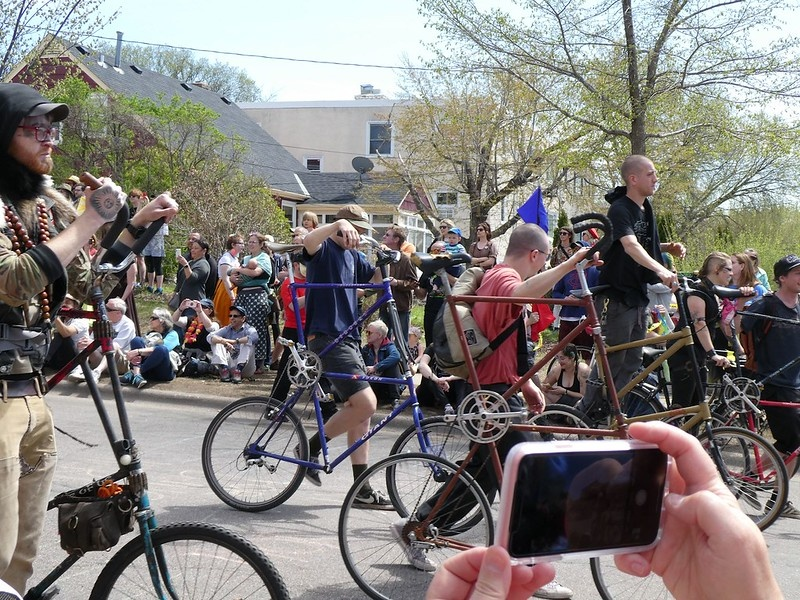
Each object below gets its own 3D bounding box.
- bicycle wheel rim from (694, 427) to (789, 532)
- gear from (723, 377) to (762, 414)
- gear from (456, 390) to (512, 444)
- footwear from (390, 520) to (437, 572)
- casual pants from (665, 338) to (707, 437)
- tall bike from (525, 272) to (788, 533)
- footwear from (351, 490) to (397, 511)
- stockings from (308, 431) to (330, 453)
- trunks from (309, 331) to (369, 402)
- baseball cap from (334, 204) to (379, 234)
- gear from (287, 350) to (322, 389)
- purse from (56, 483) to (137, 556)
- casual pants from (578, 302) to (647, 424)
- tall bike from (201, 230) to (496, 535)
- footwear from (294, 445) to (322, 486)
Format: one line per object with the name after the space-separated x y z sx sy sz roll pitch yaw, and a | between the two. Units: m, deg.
2.555 1.325 5.683 0.582 0.820 0.265 5 1 -7 | bicycle wheel rim
2.851 0.786 6.374 0.319 0.251 0.096 49 12 18 | gear
0.454 0.629 4.168 0.290 0.280 0.051 -1 -10 14 | gear
0.090 1.382 4.400 0.130 0.162 0.382 2 30 -32 | footwear
2.481 0.724 6.609 0.274 0.739 0.355 -14 -6 16 | casual pants
2.051 0.852 6.302 1.064 1.579 2.401 -16 18 -33 | tall bike
-0.163 1.187 4.564 0.279 0.122 0.100 1 -3 -8 | footwear
-0.618 1.054 5.754 0.150 0.148 0.163 42 -8 2 | stockings
-0.470 0.484 5.619 0.268 0.353 0.465 -7 46 -20 | trunks
-0.382 -0.713 6.485 0.330 0.167 0.240 11 3 6 | baseball cap
-0.697 0.498 5.575 0.278 0.271 0.045 6 -3 5 | gear
-1.326 0.934 3.308 0.280 0.270 0.319 -2 -5 14 | purse
1.876 0.485 6.552 0.271 1.022 0.289 -4 17 -28 | casual pants
-0.390 0.889 5.674 2.317 1.472 1.118 4 -6 11 | tall bike
-0.661 1.265 5.723 0.158 0.365 0.134 -17 3 15 | footwear
